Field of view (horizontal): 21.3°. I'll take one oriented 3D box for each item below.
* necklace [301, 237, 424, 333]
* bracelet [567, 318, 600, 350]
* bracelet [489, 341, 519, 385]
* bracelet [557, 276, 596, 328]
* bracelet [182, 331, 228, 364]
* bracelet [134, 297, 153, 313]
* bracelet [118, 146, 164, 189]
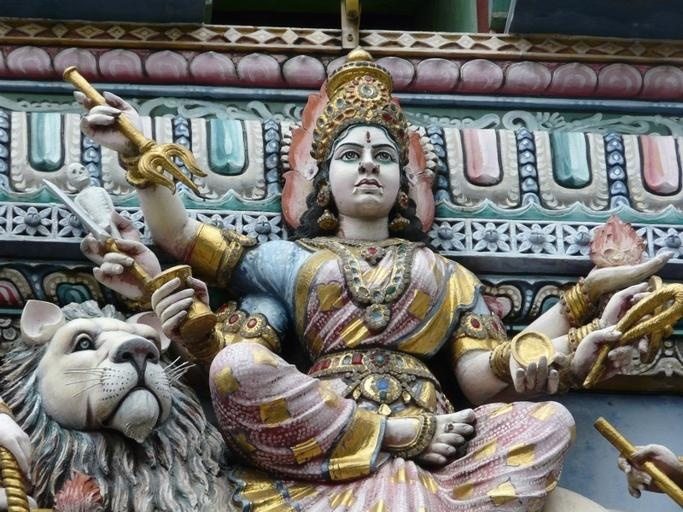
[{"bbox_3d":[0.124,0.106,8.682,0.574,0.456,0.242,2,-4,-11],"label":"necklace"},{"bbox_3d":[1.104,0.355,8.394,0.132,0.059,0.155,-21,-16,-47],"label":"bracelet"},{"bbox_3d":[0.733,0.490,8.393,0.167,0.106,0.180,4,-30,-6],"label":"bracelet"},{"bbox_3d":[1.120,0.228,8.626,0.167,0.193,0.216,-18,-9,5],"label":"bracelet"},{"bbox_3d":[-0.626,0.421,8.340,0.178,0.089,0.171,4,-29,-5],"label":"bracelet"},{"bbox_3d":[-0.956,0.230,8.630,0.106,0.039,0.076,-5,-49,6],"label":"bracelet"},{"bbox_3d":[-0.969,-0.423,8.543,0.168,0.184,0.077,-14,-4,-5],"label":"bracelet"}]
